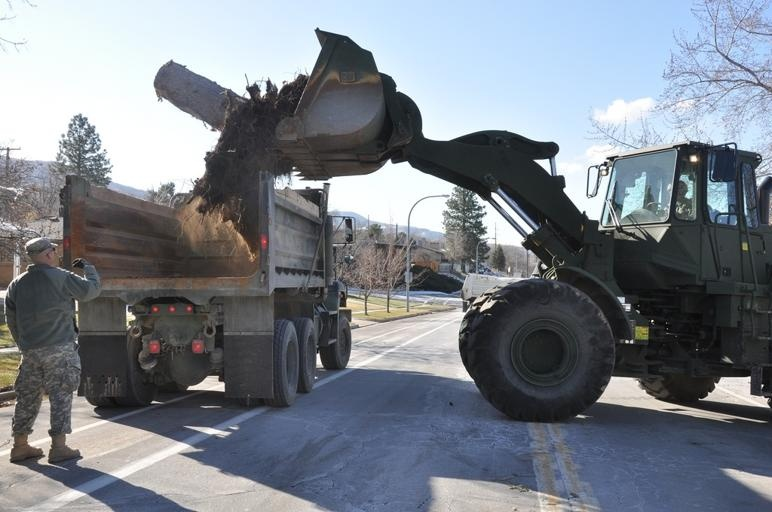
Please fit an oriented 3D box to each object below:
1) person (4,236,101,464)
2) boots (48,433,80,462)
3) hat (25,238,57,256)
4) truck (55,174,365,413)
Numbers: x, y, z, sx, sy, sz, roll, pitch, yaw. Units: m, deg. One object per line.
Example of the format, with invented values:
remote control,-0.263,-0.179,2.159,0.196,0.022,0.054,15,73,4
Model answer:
person,-4.635,1.246,8.103,1.102,2.977,0.701,1,2,0
boots,-4.293,2.593,8.048,0.497,0.385,0.215,2,-2,-34
hat,-4.804,-0.144,8.315,0.422,0.338,0.168,-8,-4,-37
truck,-3.158,0.734,13.224,3.576,4.448,7.605,1,-2,3
